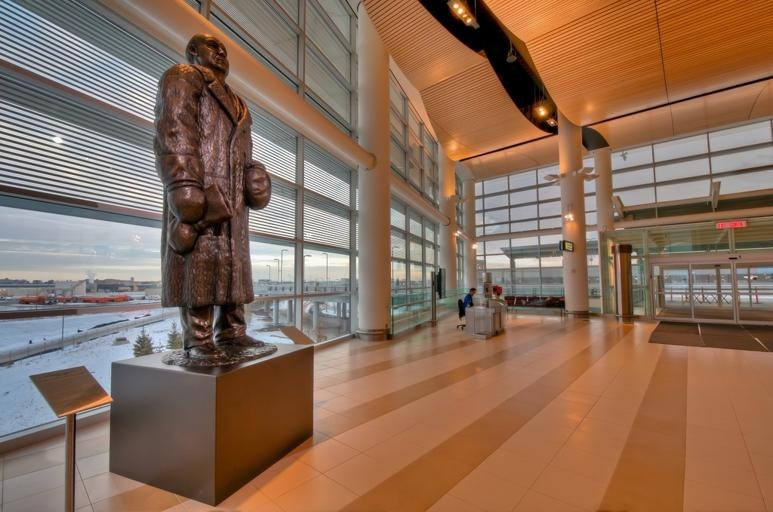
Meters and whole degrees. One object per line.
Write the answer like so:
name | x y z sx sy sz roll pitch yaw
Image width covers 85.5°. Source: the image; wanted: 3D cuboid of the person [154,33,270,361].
person | -2.041 -0.697 4.864 1.161 3.821 0.603 -1 2 -28

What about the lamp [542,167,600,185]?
lamp | 6.301 -2.800 14.088 1.401 0.565 1.652 0 0 29

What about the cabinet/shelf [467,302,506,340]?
cabinet/shelf | 2.589 1.655 11.171 0.842 1.323 1.496 -4 -6 34
